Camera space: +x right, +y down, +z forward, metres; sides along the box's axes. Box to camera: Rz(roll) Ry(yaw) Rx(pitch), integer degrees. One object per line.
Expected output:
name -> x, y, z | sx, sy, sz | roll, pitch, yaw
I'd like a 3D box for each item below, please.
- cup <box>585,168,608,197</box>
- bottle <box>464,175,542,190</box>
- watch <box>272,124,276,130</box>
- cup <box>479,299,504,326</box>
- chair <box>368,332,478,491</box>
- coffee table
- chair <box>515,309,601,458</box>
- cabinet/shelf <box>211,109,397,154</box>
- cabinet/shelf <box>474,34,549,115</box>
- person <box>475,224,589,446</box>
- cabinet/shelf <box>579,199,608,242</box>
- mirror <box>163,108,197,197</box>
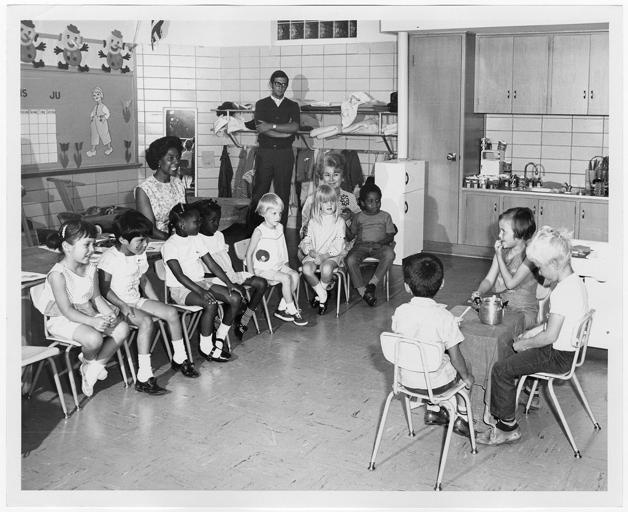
cup -> 3.998, -1.041, 7.005 | 0.254, 0.363, 0.309 | 5, 13, 25
bottle -> 2.918, -1.149, 7.699 | 1.107, 0.203, 0.432 | 5, 13, 23
watch -> -0.639, -2.107, 8.016 | 0.057, 0.060, 0.106 | -2, 11, -4
cup -> 1.205, 0.379, 3.373 | 0.181, 0.193, 0.140 | -1, 5, 7
chair -> 0.703, 0.890, 3.120 | 0.510, 0.849, 0.606 | 4, 6, 45
coffee table -> 1.167, 0.768, 3.585 | 0.588, 0.624, 0.863 | 4, 18, 23
chair -> 1.654, 0.807, 3.318 | 0.467, 0.725, 0.468 | -6, -14, 7
cabinet/shelf -> -0.255, -2.286, 9.213 | 3.463, 0.838, 0.667 | 5, 16, 16
cabinet/shelf -> 3.032, -2.805, 7.517 | 1.084, 1.138, 0.427 | 4, 9, 27
person -> 1.442, 0.530, 3.218 | 0.743, 1.396, 0.431 | -6, 13, -26
cabinet/shelf -> 3.877, -0.505, 6.892 | 0.386, 0.566, 0.196 | 7, 13, 31
mirror -> -2.220, -1.814, 8.192 | 0.577, 1.681, 0.047 | 0, -27, -13
